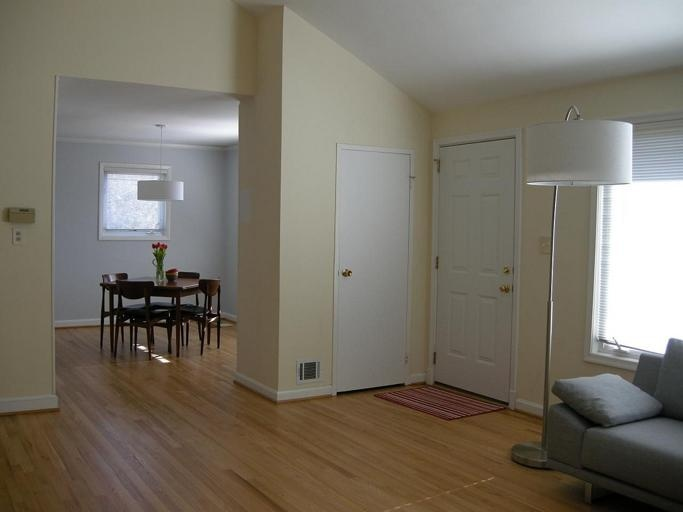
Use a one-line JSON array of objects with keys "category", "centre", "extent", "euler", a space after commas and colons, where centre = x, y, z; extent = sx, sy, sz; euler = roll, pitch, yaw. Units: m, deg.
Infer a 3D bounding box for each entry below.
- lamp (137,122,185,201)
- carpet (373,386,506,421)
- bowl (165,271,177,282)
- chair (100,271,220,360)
[{"category": "lamp", "centre": [-2.782, -1.355, 8.079], "extent": [0.634, 1.017, 1.963], "euler": [-1, 5, -19]}, {"category": "carpet", "centre": [0.973, 1.433, 5.291], "extent": [0.777, 0.017, 1.124], "euler": [-4, 7, -45]}, {"category": "bowl", "centre": [-2.265, 0.276, 7.079], "extent": [0.130, 0.106, 0.130], "euler": [2, -5, 0]}, {"category": "chair", "centre": [-2.343, 0.642, 6.941], "extent": [1.182, 0.792, 1.229], "euler": [0, 2, -14]}]
